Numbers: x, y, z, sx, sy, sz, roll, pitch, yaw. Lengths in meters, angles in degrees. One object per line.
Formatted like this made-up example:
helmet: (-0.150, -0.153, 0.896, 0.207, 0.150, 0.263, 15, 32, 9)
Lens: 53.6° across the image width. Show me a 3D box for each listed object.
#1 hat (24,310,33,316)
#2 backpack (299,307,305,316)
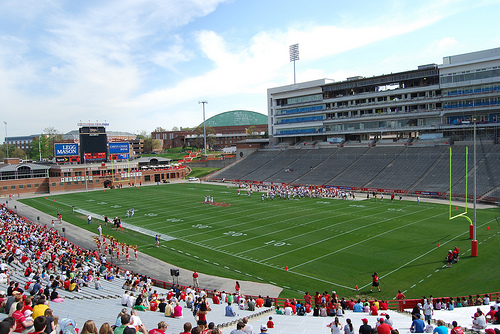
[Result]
hat: (-15.581, 10.222, 34.850, 0.542, 0.259, 0.406, 4, 5, 35)
backpack: (4.408, 12.128, 41.709, 0.666, 0.679, 0.411, 5, 20, 12)
